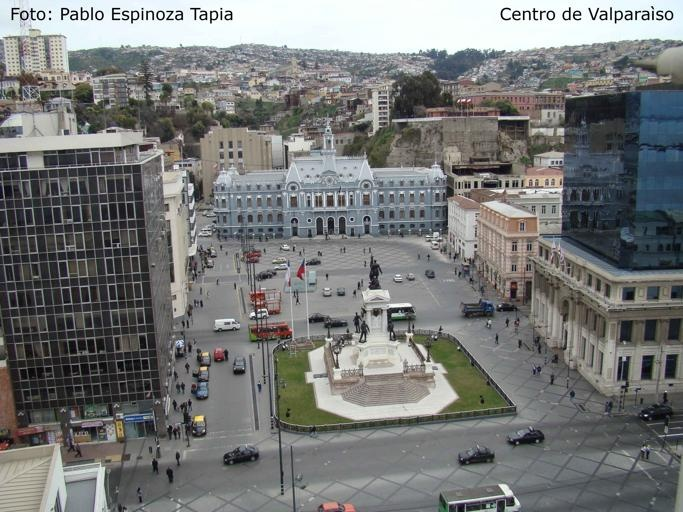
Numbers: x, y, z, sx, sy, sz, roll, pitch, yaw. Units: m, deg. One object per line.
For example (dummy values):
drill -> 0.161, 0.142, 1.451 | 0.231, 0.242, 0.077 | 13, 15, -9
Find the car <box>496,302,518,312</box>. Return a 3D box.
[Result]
car -> 30.890, 9.319, 128.578 | 2.577, 1.018, 1.859 | -2, 19, 3

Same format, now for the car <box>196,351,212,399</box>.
car -> -20.961, 17.864, 104.478 | 1.840, 1.733, 8.238 | 0, 10, -6

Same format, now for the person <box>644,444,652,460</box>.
person -> 36.877, 23.240, 82.852 | 0.825, 1.408, 1.958 | 2, 15, 24

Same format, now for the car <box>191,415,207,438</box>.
car -> -18.834, 22.217, 91.196 | 1.340, 1.005, 2.942 | -1, 13, -14

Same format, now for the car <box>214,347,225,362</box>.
car -> -19.810, 15.825, 111.774 | 1.155, 1.002, 2.507 | 2, 20, -9

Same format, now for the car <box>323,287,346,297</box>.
car -> -1.619, 7.010, 141.573 | 4.630, 1.600, 3.425 | -6, 14, -8

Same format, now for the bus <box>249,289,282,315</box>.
bus -> -14.388, 8.649, 134.353 | 5.043, 1.647, 5.440 | -2, 33, -1

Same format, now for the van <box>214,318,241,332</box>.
van -> -20.618, 12.099, 124.183 | 3.705, 1.726, 2.252 | -2, 13, -4

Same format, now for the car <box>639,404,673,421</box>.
car -> 41.470, 20.270, 90.794 | 4.037, 1.632, 1.934 | -1, 10, -5

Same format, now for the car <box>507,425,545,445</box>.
car -> 23.012, 22.396, 86.380 | 4.082, 1.637, 2.021 | -1, 10, -4

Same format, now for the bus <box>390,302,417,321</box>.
bus -> 11.186, 9.630, 126.446 | 6.796, 3.023, 2.870 | -3, 23, -1

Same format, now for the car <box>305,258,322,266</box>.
car -> -6.574, 1.206, 165.075 | 2.982, 1.254, 1.698 | 0, 10, -8

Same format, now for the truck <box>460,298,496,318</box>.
truck -> 25.187, 9.440, 127.161 | 5.023, 2.615, 3.044 | -2, 15, -2
